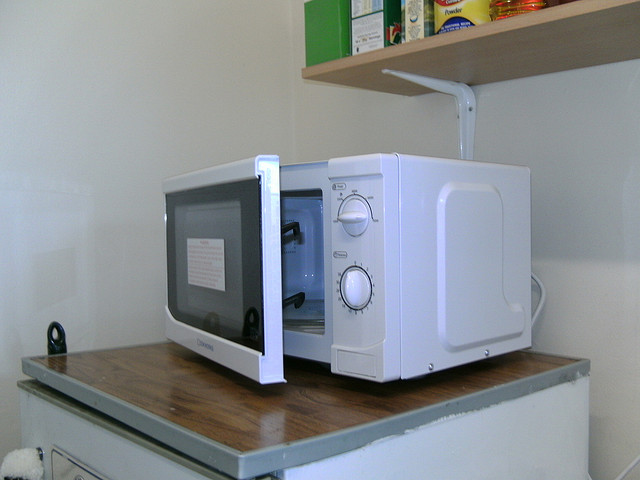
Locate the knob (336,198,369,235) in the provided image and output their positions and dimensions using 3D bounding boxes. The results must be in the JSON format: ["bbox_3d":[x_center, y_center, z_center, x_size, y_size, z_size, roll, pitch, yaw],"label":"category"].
[{"bbox_3d":[0.051,-0.037,0.848,0.059,0.070,0.033,-3,2,42],"label":"knob"}]

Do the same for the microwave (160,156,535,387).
[{"bbox_3d":[0.056,0.048,1.103,0.565,0.458,0.604,0,0,-41],"label":"microwave"}]
